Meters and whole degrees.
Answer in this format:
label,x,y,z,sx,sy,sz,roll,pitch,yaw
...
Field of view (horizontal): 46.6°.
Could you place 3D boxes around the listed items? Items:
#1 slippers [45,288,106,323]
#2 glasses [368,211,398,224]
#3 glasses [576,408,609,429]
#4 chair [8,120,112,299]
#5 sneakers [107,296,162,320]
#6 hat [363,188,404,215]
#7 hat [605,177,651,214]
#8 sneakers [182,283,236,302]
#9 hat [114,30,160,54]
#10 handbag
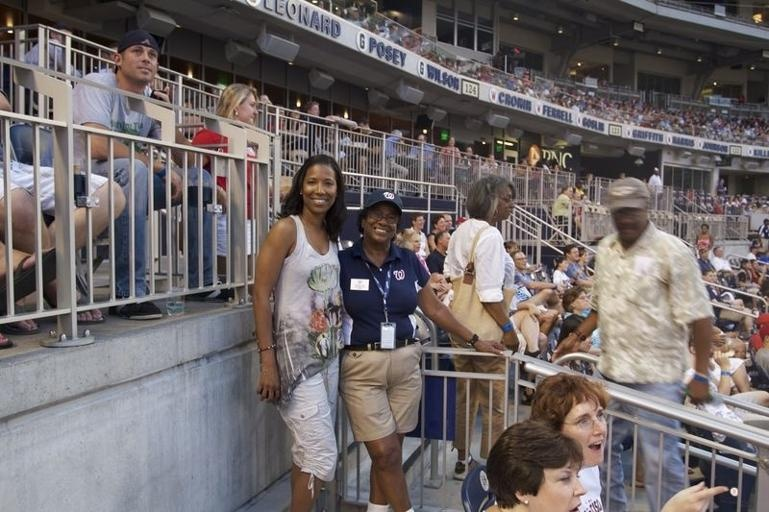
label,x,y,z,sx,sy,sz,roll,pitch,yaw
slippers,-2.610,0.426,7.554,0.585,0.216,0.207,8,-6,-26
glasses,-0.004,-0.343,7.844,0.270,0.086,0.080,4,5,-1
glasses,1.675,1.323,7.192,0.239,0.196,0.159,23,-24,-31
chair,-2.695,-0.326,7.363,0.961,1.494,0.719,2,4,-17
sneakers,-2.200,0.451,7.871,0.401,0.175,0.190,-1,-1,12
hat,-0.026,-0.504,7.945,0.295,0.218,0.481,10,-11,-7
hat,2.167,-0.561,7.936,0.259,0.191,0.355,-6,-18,27
sneakers,-1.721,0.371,8.793,0.567,0.232,0.194,3,-2,12
hat,-2.317,-2.023,8.395,0.359,0.244,0.306,3,5,-8
handbag,1.000,0.636,9.148,0.526,0.945,0.769,-16,-9,5
